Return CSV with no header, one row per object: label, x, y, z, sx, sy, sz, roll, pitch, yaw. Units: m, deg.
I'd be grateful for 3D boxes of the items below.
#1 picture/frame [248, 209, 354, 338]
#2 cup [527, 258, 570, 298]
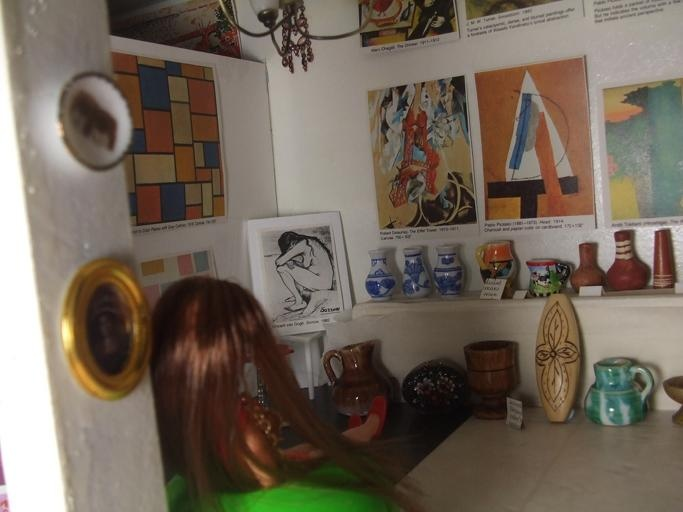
picture/frame,-0.181,0.087,2.209,0.436,0.610,0.022,-9,-5,-1
cup,0.780,0.079,1.912,0.154,0.151,0.117,0,3,8
